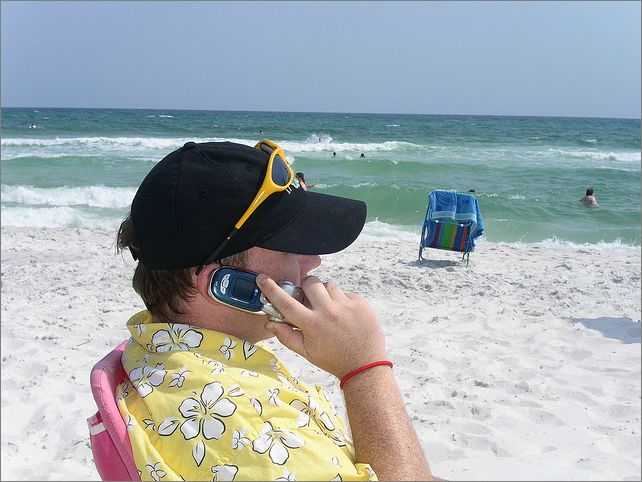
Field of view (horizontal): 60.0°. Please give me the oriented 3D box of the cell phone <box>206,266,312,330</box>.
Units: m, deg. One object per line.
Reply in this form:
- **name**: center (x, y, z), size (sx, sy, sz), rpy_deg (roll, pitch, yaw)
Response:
- **cell phone**: center (-0.239, 0.198, 2.102), size (0.377, 0.165, 0.069), rpy_deg (14, -5, -12)

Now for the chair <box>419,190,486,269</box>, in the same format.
- **chair**: center (2.192, -0.265, 9.464), size (1.101, 1.289, 1.017), rpy_deg (8, 16, 11)
